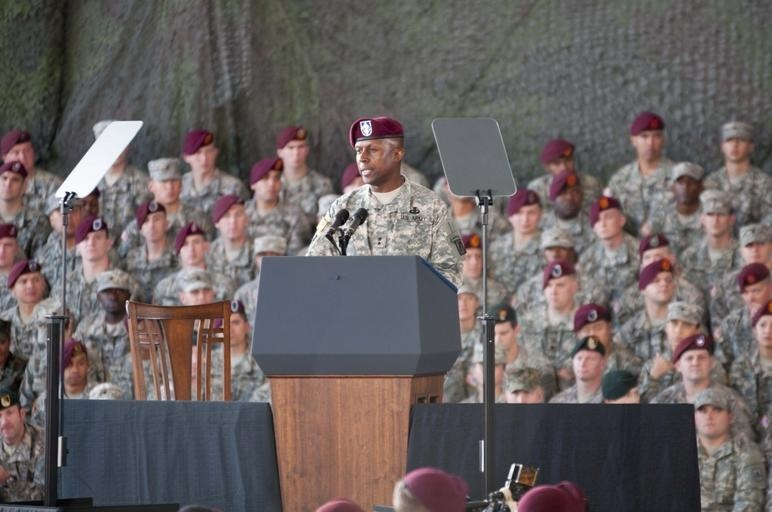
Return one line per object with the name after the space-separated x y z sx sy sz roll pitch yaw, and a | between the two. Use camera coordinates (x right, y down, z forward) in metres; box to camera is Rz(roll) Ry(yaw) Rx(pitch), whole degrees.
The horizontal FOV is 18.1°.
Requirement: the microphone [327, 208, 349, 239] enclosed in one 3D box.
-0.250 -0.198 13.567 0.066 0.062 0.240 -37 14 41 | microphone

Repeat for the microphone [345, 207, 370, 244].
-0.163 -0.185 13.566 0.117 0.191 0.195 -1 -5 3 | microphone

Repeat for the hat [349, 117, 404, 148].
-0.033 -0.709 13.870 0.179 0.096 0.224 -1 5 31 | hat
